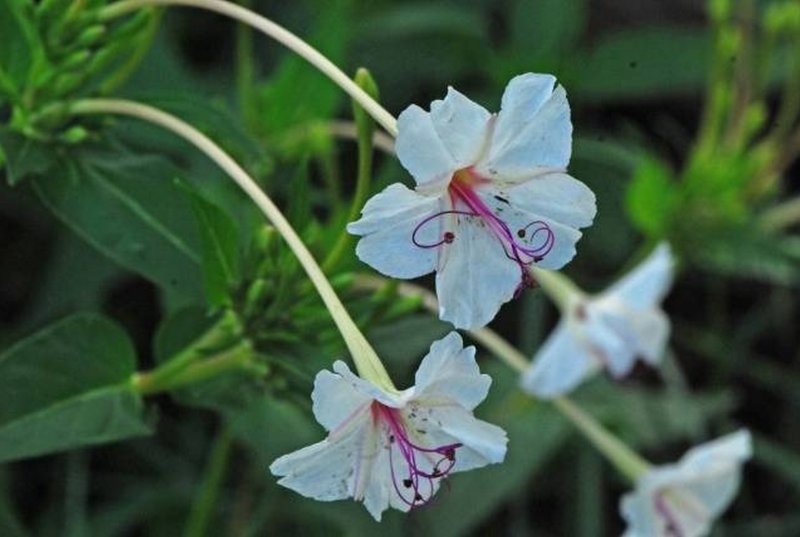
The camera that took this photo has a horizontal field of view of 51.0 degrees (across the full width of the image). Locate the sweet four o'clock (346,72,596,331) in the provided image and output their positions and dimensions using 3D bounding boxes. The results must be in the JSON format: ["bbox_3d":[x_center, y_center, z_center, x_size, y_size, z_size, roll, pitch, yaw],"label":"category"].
[{"bbox_3d":[0.153,-0.142,1.717,0.529,0.290,0.351,-35,66,-6],"label":"sweet four o'clock"}]

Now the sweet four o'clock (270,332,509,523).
[{"bbox_3d":[0.017,0.360,1.762,0.483,0.395,0.287,-35,71,36],"label":"sweet four o'clock"}]
